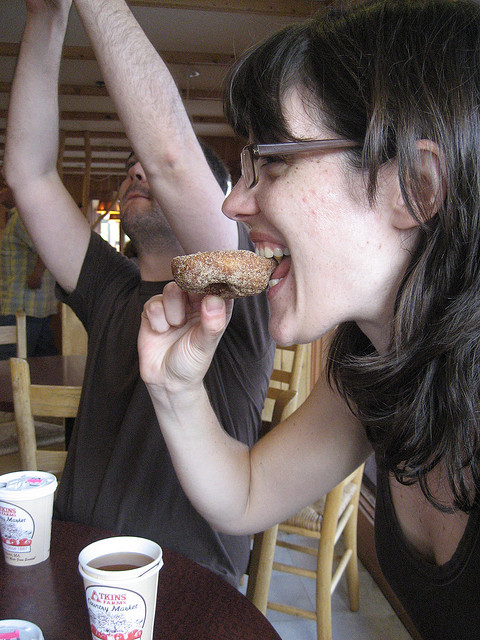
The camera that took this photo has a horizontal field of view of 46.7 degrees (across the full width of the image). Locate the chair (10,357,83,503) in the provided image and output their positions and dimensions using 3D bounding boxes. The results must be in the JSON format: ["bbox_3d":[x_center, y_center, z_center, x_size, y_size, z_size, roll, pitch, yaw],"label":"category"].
[{"bbox_3d":[-0.426,0.300,1.454,0.180,0.324,0.186,-15,-5,1],"label":"chair"}]

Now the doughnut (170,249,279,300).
[{"bbox_3d":[-0.032,-0.070,0.872,0.161,0.075,0.171,-6,-1,-39],"label":"doughnut"}]
